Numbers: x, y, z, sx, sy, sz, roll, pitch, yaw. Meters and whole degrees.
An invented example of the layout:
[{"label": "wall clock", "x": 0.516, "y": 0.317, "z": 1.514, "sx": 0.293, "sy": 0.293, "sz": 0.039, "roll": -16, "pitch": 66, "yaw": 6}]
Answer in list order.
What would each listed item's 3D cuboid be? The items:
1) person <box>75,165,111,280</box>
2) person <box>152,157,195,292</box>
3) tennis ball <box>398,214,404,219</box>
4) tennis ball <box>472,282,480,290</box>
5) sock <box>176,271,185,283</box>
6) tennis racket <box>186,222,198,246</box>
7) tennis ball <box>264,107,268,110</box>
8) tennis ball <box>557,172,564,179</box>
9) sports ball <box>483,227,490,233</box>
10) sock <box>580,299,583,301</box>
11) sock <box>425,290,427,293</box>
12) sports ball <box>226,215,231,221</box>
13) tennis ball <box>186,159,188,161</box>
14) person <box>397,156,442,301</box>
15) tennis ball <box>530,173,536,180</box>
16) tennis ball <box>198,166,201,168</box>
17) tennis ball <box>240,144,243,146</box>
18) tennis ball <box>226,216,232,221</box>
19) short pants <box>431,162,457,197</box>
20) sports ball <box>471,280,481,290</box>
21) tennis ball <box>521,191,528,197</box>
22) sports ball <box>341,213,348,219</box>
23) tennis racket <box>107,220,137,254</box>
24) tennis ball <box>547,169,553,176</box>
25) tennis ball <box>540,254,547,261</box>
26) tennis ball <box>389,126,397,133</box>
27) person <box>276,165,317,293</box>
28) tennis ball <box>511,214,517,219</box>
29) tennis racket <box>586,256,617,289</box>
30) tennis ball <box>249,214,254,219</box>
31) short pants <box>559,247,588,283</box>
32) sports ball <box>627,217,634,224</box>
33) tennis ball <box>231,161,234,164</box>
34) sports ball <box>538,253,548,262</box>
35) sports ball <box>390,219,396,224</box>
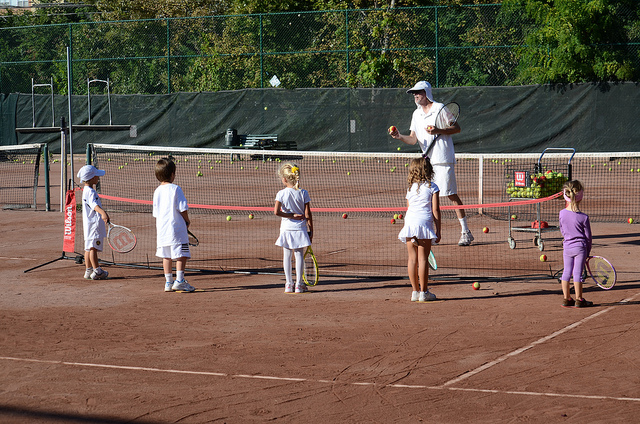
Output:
[{"label": "person", "x": -3.349, "y": 0.173, "z": 11.187, "sx": 0.427, "sy": 1.630, "sz": 1.039, "roll": -4, "pitch": 13, "yaw": -17}, {"label": "person", "x": -2.056, "y": 0.186, "z": 10.524, "sx": 0.495, "sy": 1.767, "sz": 0.802, "roll": -3, "pitch": 12, "yaw": -13}, {"label": "tennis ball", "x": 1.641, "y": 0.104, "z": 15.398, "sx": 0.094, "sy": 0.052, "sz": 0.095, "roll": 1, "pitch": 3, "yaw": 0}, {"label": "tennis ball", "x": 2.127, "y": 1.027, "z": 10.291, "sx": 0.097, "sy": 0.086, "sz": 0.083, "roll": -16, "pitch": -32, "yaw": 31}, {"label": "sock", "x": -1.934, "y": 0.889, "z": 10.405, "sx": 0.101, "sy": 0.147, "sz": 0.216, "roll": -3, "pitch": 12, "yaw": -10}, {"label": "tennis racket", "x": -2.100, "y": 0.391, "z": 12.339, "sx": 0.148, "sy": 0.451, "sz": 0.023, "roll": -20, "pitch": -19, "yaw": -16}, {"label": "tennis ball", "x": -1.998, "y": -3.818, "z": 27.868, "sx": 0.108, "sy": 0.058, "sz": 0.107, "roll": 1, "pitch": 3, "yaw": 0}, {"label": "tennis ball", "x": 4.014, "y": -0.591, "z": 12.618, "sx": 0.162, "sy": 0.105, "sz": 0.205, "roll": -2, "pitch": 5, "yaw": 12}, {"label": "sports ball", "x": 2.971, "y": 0.339, "z": 13.486, "sx": 0.112, "sy": 0.076, "sz": 0.136, "roll": -3, "pitch": 3, "yaw": -5}, {"label": "sock", "x": 3.239, "y": 1.107, "z": 9.355, "sx": 0.043, "sy": 0.019, "sz": 0.014, "roll": -4, "pitch": 13, "yaw": -17}, {"label": "sock", "x": 1.365, "y": 1.042, "z": 9.748, "sx": 0.031, "sy": 0.024, "sz": 0.031, "roll": 0, "pitch": 4, "yaw": 3}, {"label": "sports ball", "x": -1.869, "y": 0.153, "z": 15.345, "sx": 0.089, "sy": 0.091, "sz": 0.090, "roll": 1, "pitch": 12, "yaw": 0}, {"label": "tennis ball", "x": -4.632, "y": -1.780, "z": 26.202, "sx": 0.103, "sy": 0.057, "sz": 0.056, "roll": 2, "pitch": 9, "yaw": -31}, {"label": "person", "x": 1.305, "y": 0.229, "z": 9.841, "sx": 0.501, "sy": 1.825, "sz": 0.581, "roll": 3, "pitch": 12, "yaw": 15}, {"label": "tennis ball", "x": 3.517, "y": -0.569, "z": 12.458, "sx": 0.070, "sy": 0.093, "sz": 0.125, "roll": 6, "pitch": 6, "yaw": 37}, {"label": "tennis ball", "x": -3.882, "y": -1.432, "z": 24.300, "sx": 0.103, "sy": 0.099, "sz": 0.106, "roll": 0, "pitch": 3, "yaw": 0}, {"label": "tennis ball", "x": -2.880, "y": -2.419, "z": 27.502, "sx": 0.080, "sy": 0.078, "sz": 0.045, "roll": -1, "pitch": -6, "yaw": 15}, {"label": "tennis ball", "x": -1.845, "y": 0.150, "z": 15.332, "sx": 0.081, "sy": 0.082, "sz": 0.080, "roll": -1, "pitch": 6, "yaw": 0}, {"label": "short pants", "x": 1.941, "y": -0.511, "z": 11.930, "sx": 0.495, "sy": 0.619, "sz": 0.414, "roll": -3, "pitch": 19, "yaw": 11}, {"label": "sports ball", "x": 2.128, "y": 1.020, "z": 10.295, "sx": 0.101, "sy": 0.118, "sz": 0.100, "roll": -1, "pitch": 5, "yaw": 0}, {"label": "tennis ball", "x": 3.395, "y": -0.290, "z": 12.522, "sx": 0.100, "sy": 0.077, "sz": 0.103, "roll": -1, "pitch": 2, "yaw": 0}, {"label": "sports ball", "x": 0.513, "y": 0.111, "z": 15.788, "sx": 0.115, "sy": 0.097, "sz": 0.097, "roll": -45, "pitch": 9, "yaw": 9}, {"label": "tennis racket", "x": -2.954, "y": 0.420, "z": 11.212, "sx": 0.375, "sy": 0.437, "sz": 0.291, "roll": -4, "pitch": 12, "yaw": -16}, {"label": "tennis ball", "x": 3.806, "y": -0.636, "z": 12.516, "sx": 0.084, "sy": 0.050, "sz": 0.097, "roll": 7, "pitch": 22, "yaw": 5}, {"label": "tennis ball", "x": 3.432, "y": 0.727, "z": 11.570, "sx": 0.088, "sy": 0.090, "sz": 0.089, "roll": -6, "pitch": 23, "yaw": 3}, {"label": "tennis ball", "x": 1.107, "y": -1.257, "z": 11.459, "sx": 0.108, "sy": 0.117, "sz": 0.112, "roll": 0, "pitch": 12, "yaw": 0}, {"label": "person", "x": -0.349, "y": 0.242, "z": 10.217, "sx": 0.475, "sy": 1.713, "sz": 0.400, "roll": -1, "pitch": 12, "yaw": -3}, {"label": "tennis ball", "x": 3.761, "y": 0.111, "z": 14.649, "sx": 0.074, "sy": 0.055, "sz": 0.093, "roll": -3, "pitch": 11, "yaw": 4}, {"label": "tennis racket", "x": 3.753, "y": 0.822, "z": 10.076, "sx": 0.097, "sy": 0.467, "sz": 0.630, "roll": -7, "pitch": 12, "yaw": -13}, {"label": "tennis ball", "x": -1.460, "y": 0.117, "z": 15.991, "sx": 0.093, "sy": 0.061, "sz": 0.109, "roll": 0, "pitch": 0, "yaw": 2}, {"label": "short pants", "x": 3.177, "y": 0.658, "z": 9.416, "sx": 0.281, "sy": 0.450, "sz": 0.240, "roll": 3, "pitch": 13, "yaw": 19}, {"label": "sports ball", "x": 5.975, "y": 0.187, "z": 14.525, "sx": 0.112, "sy": 0.085, "sz": 0.143, "roll": 0, "pitch": 4, "yaw": 6}, {"label": "tennis ball", "x": -2.992, "y": -1.653, "z": 25.586, "sx": 0.135, "sy": 0.100, "sz": 0.135, "roll": 0, "pitch": 1, "yaw": 0}, {"label": "sports ball", "x": 3.434, "y": 0.725, "z": 11.593, "sx": 0.112, "sy": 0.114, "sz": 0.110, "roll": -4, "pitch": 2, "yaw": 0}, {"label": "sports ball", "x": 1.452, "y": 0.202, "z": 15.030, "sx": 0.096, "sy": 0.097, "sz": 0.096, "roll": -1, "pitch": 7, "yaw": 0}]
